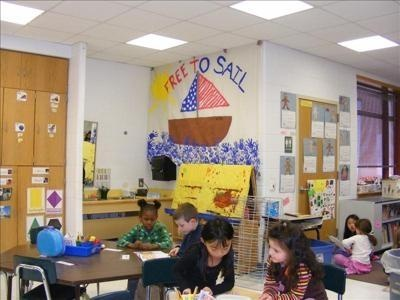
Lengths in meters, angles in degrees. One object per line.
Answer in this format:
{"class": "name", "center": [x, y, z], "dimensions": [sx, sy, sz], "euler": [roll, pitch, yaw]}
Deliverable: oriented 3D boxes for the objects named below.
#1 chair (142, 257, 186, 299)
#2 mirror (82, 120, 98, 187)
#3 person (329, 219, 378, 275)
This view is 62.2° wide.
{"class": "chair", "center": [-0.394, 1.091, 3.033], "dimensions": [0.346, 0.458, 0.378], "euler": [4, -7, -31]}
{"class": "mirror", "center": [-2.410, 0.073, 7.280], "dimensions": [0.077, 1.432, 0.323], "euler": [-2, -4, 36]}
{"class": "person", "center": [2.810, 1.771, 6.215], "dimensions": [0.808, 0.957, 0.654], "euler": [2, -8, 16]}
